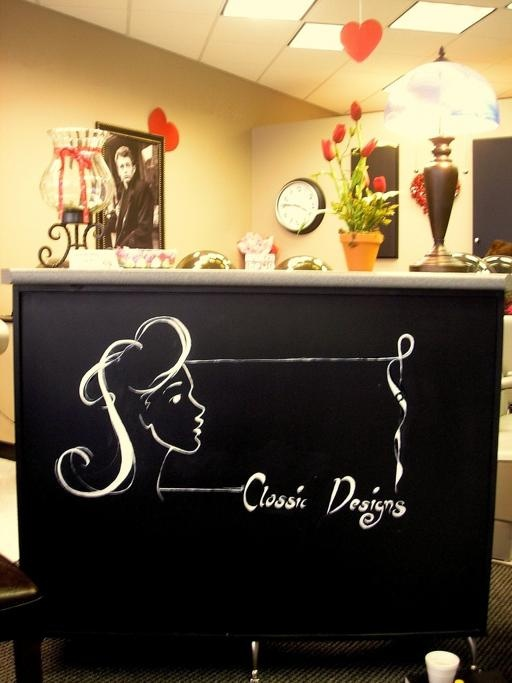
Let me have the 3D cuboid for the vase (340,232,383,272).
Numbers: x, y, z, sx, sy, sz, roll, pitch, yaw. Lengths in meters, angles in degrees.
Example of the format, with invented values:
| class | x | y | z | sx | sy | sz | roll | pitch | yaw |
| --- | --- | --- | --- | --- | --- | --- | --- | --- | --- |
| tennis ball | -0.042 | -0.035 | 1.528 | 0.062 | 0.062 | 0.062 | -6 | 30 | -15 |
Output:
| class | x | y | z | sx | sy | sz | roll | pitch | yaw |
| --- | --- | --- | --- | --- | --- | --- | --- | --- | --- |
| vase | 0.271 | -0.238 | 1.559 | 0.116 | 0.104 | 0.117 | -1 | 1 | -38 |

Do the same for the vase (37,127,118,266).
| class | x | y | z | sx | sy | sz | roll | pitch | yaw |
| --- | --- | --- | --- | --- | --- | --- | --- | --- | --- |
| vase | -0.469 | -0.365 | 1.536 | 0.181 | 0.356 | 0.181 | 4 | -2 | 43 |

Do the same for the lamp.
| class | x | y | z | sx | sy | sz | roll | pitch | yaw |
| --- | --- | --- | --- | --- | --- | --- | --- | --- | --- |
| lamp | 0.532 | -0.535 | 1.622 | 0.337 | 0.694 | 0.413 | 2 | 4 | 11 |
